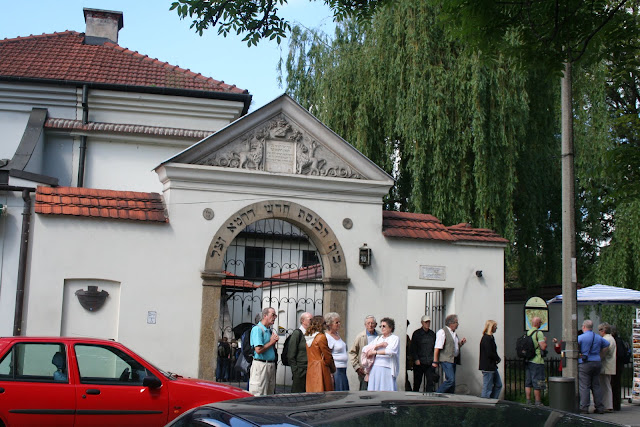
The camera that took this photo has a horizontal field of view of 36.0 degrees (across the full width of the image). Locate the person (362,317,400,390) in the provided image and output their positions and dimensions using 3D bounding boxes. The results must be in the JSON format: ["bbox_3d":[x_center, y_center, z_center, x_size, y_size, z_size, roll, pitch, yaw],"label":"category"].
[{"bbox_3d":[1.448,3.337,23.258,0.899,1.681,0.501,-9,-15,34],"label":"person"}]

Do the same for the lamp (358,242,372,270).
[{"bbox_3d":[1.218,1.168,26.619,0.467,0.950,0.560,1,-7,0],"label":"lamp"}]

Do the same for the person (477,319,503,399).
[{"bbox_3d":[4.482,3.848,26.074,0.548,2.000,0.691,-3,-12,11],"label":"person"}]

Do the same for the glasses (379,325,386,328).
[{"bbox_3d":[1.508,2.682,23.317,0.074,0.024,0.078,-11,-25,41],"label":"glasses"}]

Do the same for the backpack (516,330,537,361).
[{"bbox_3d":[5.433,3.493,25.948,0.571,0.758,0.368,-8,-14,28],"label":"backpack"}]

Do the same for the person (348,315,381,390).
[{"bbox_3d":[1.148,3.760,24.333,0.894,2.401,0.608,1,9,-8],"label":"person"}]

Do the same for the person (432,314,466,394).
[{"bbox_3d":[3.401,3.714,26.038,0.839,2.049,1.421,-3,-12,8],"label":"person"}]

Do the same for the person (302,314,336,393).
[{"bbox_3d":[-0.003,3.194,22.539,0.652,1.753,0.681,-1,-12,0],"label":"person"}]
